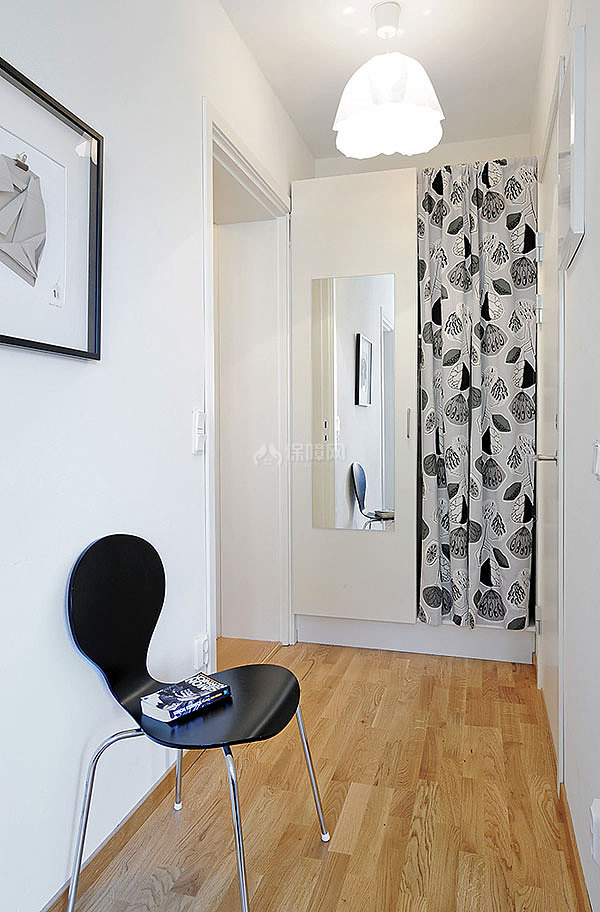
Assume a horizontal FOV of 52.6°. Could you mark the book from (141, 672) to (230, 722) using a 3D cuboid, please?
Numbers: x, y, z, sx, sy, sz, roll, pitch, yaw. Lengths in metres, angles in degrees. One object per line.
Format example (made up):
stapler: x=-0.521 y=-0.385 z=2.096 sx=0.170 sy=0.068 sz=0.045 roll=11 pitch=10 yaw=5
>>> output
book: x=-0.234 y=0.513 z=1.308 sx=0.131 sy=0.035 sz=0.231 roll=-1 pitch=-1 yaw=35

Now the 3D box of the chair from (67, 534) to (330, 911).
chair: x=-0.227 y=0.548 z=1.336 sx=0.464 sy=0.739 sz=0.521 roll=0 pitch=0 yaw=19
